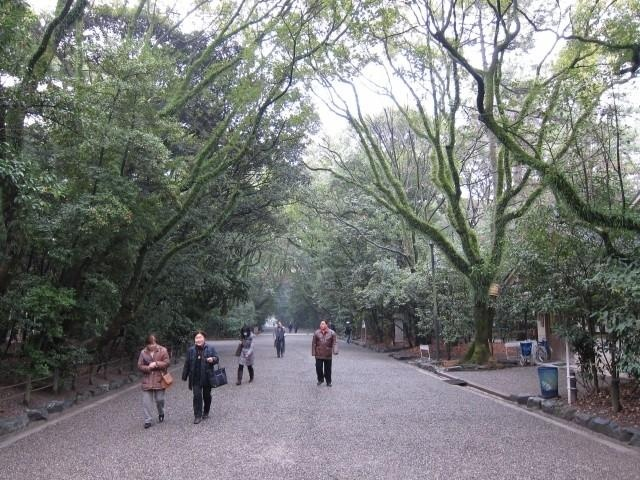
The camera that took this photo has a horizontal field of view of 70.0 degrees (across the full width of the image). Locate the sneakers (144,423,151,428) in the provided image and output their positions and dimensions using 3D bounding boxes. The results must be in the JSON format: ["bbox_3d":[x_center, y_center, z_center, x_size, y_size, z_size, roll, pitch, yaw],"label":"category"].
[{"bbox_3d":[-3.497,3.745,9.166,0.053,0.077,0.170,0,-16,-1],"label":"sneakers"}]

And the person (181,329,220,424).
[{"bbox_3d":[-2.710,3.060,10.213,0.734,1.853,1.434,4,-12,-15],"label":"person"}]
